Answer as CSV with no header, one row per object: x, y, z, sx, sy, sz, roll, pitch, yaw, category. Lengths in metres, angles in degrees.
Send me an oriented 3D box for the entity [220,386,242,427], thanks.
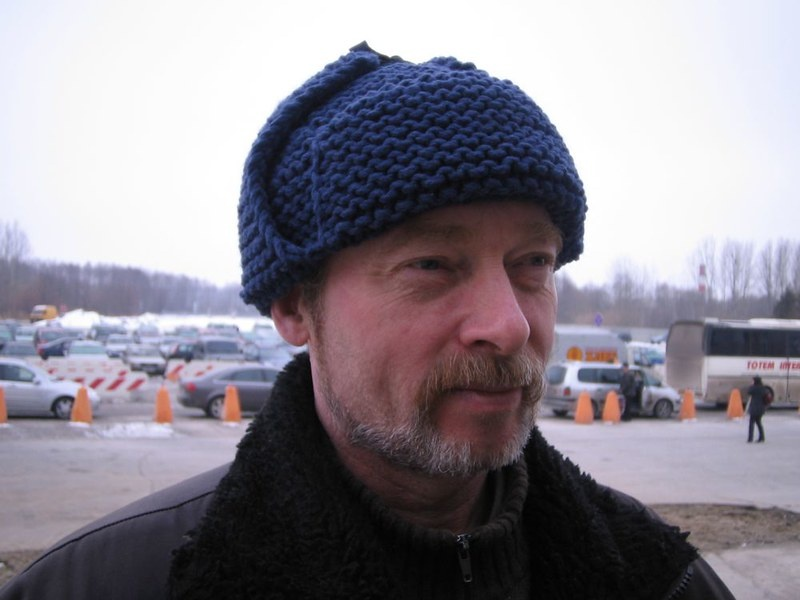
-3.300,2.061,13.684,0.385,0.807,0.432,1,-39,-13,entity

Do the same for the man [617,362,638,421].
3.237,1.286,10.074,0.193,0.734,0.221,5,-6,-24,man
